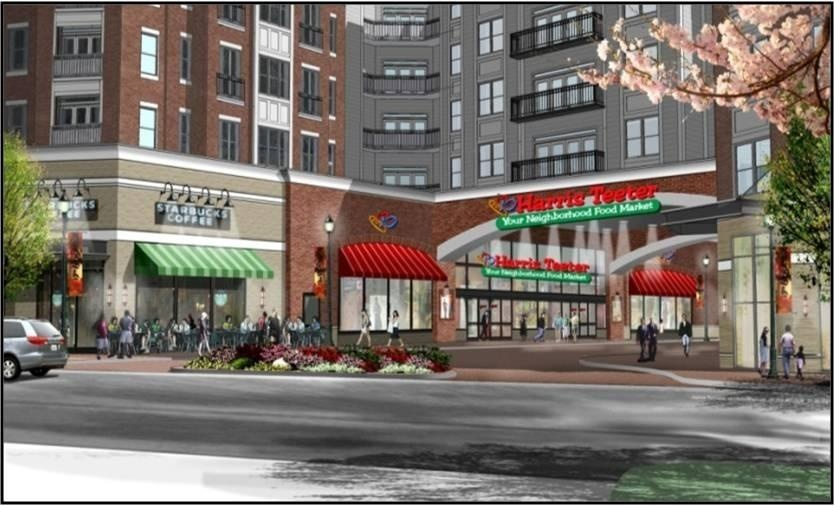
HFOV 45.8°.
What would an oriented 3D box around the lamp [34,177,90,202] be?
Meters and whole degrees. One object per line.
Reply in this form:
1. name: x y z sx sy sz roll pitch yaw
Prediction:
1. lamp: -18.217 -3.355 50.883 2.785 1.300 0.648 -4 -9 16
